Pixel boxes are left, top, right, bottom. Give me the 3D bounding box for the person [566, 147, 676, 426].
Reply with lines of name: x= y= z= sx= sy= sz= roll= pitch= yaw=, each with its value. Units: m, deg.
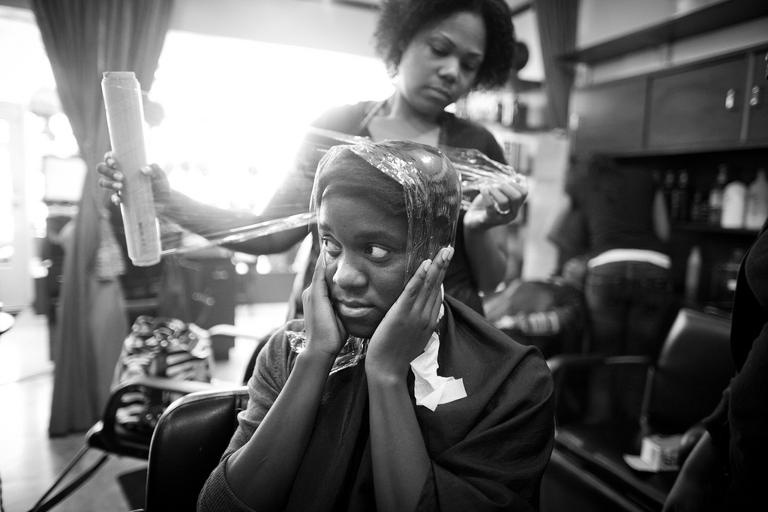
person: x=0.752 y=0.187 z=1.899 sx=0.316 sy=0.925 sz=0.871 roll=3 pitch=6 yaw=26
